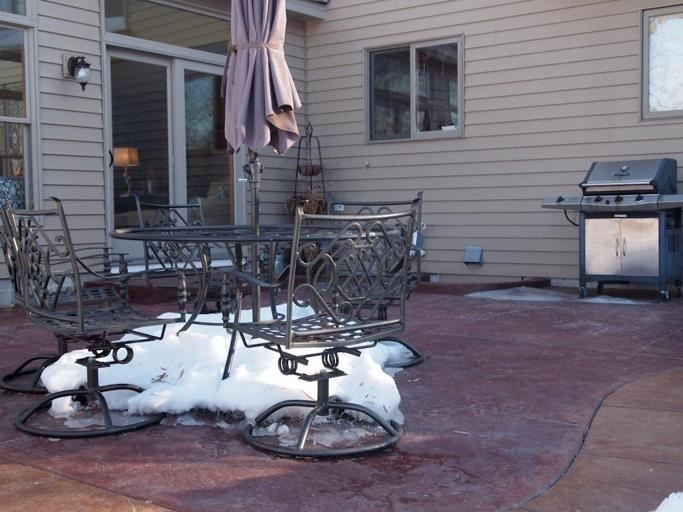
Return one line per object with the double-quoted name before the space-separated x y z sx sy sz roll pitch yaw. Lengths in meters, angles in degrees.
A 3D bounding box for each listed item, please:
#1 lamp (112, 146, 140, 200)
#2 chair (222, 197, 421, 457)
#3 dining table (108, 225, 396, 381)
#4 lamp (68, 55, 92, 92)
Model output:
"lamp" -2.364 -0.929 6.519 0.081 0.543 0.307 5 9 37
"chair" -0.090 0.218 3.065 0.868 0.969 1.875 0 6 4
"dining table" -0.919 0.268 3.346 1.636 0.426 1.672 -14 -12 32
"lamp" -2.602 -1.846 5.942 0.191 0.344 0.234 2 7 16
